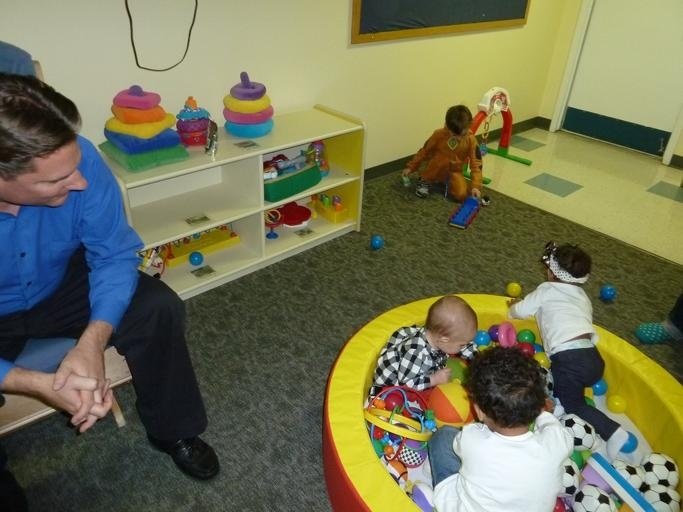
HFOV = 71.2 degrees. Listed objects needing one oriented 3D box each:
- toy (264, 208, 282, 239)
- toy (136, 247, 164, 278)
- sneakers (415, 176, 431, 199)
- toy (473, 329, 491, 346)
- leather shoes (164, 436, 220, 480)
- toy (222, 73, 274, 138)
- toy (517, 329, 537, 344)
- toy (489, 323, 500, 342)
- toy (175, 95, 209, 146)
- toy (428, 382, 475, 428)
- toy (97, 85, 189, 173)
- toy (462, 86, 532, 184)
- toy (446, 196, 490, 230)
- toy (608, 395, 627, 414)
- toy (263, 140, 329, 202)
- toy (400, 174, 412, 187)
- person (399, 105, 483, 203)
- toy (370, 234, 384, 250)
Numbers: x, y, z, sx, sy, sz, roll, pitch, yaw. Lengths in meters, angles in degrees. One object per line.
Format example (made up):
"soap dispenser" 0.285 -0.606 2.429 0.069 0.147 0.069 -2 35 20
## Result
"toy" -0.511 -0.233 3.465 0.149 0.240 0.158 -8 55 -15
"toy" -1.098 0.041 2.721 0.184 0.129 0.060 24 58 12
"sneakers" 0.733 -0.611 4.306 0.168 0.170 0.122 10 33 21
"toy" 0.812 0.483 2.820 0.089 0.103 0.088 -3 40 1
"leather shoes" -0.674 0.930 2.221 0.299 0.118 0.136 23 40 17
"toy" -0.626 -1.011 3.158 0.352 0.375 0.347 6 35 2
"toy" 1.075 0.461 2.770 0.085 0.101 0.084 12 37 18
"toy" 0.883 0.443 2.777 0.080 0.093 0.081 6 6 25
"toy" -0.936 -0.845 2.994 0.230 0.282 0.241 -16 31 -35
"toy" 0.523 0.732 2.333 0.180 0.202 0.168 35 75 20
"toy" -1.111 -0.696 2.795 0.495 0.427 0.489 -23 52 -34
"toy" 1.372 -1.175 4.429 0.646 0.740 0.565 -26 42 -30
"toy" 1.078 -0.401 4.062 0.165 0.151 0.631 19 45 24
"toy" 1.435 0.778 2.487 0.084 0.085 0.098 -4 80 16
"toy" -0.324 -0.559 3.404 0.523 0.183 0.372 -35 47 -22
"toy" 0.584 -0.686 4.365 0.079 0.034 0.111 -5 42 0
"person" 0.965 -0.934 4.229 0.784 0.833 0.452 24 45 22
"toy" 0.259 -0.096 3.645 0.101 0.094 0.100 -18 38 -21
